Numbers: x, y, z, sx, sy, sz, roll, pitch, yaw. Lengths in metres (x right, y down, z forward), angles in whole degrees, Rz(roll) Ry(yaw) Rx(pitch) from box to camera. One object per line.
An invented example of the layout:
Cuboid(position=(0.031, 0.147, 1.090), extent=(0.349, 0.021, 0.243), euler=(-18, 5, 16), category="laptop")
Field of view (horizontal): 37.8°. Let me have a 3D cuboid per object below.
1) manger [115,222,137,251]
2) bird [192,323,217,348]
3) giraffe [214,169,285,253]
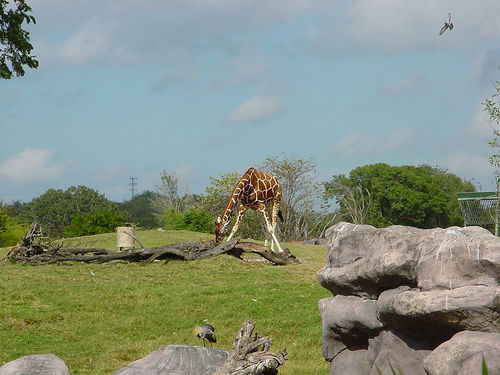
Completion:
Cuboid(position=(-5.363, 2.146, 31.427), extent=(0.728, 0.887, 1.103), euler=(-1, 1, -12), category="manger")
Cuboid(position=(-1.162, 3.597, 18.006), extent=(0.683, 0.781, 0.348), euler=(-2, -6, -18), category="bird")
Cuboid(position=(0.104, 1.241, 31.825), extent=(1.322, 3.956, 5.327), euler=(6, 8, 38), category="giraffe")
